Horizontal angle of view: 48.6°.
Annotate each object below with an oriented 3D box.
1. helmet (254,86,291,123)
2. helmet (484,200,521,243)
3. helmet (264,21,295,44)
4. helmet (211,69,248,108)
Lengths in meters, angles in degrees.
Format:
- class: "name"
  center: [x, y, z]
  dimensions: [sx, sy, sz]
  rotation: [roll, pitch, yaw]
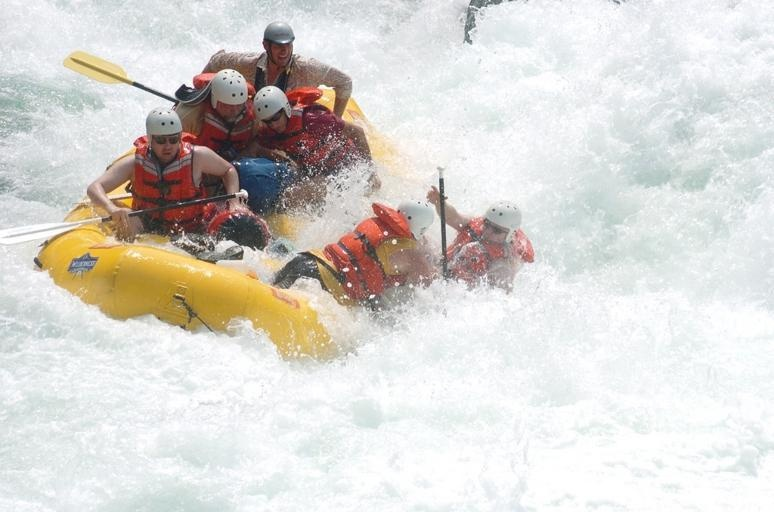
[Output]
- class: "helmet"
  center: [-1.306, -1.759, 10.119]
  dimensions: [0.349, 0.443, 0.348]
  rotation: [-14, 72, 1]
- class: "helmet"
  center: [1.306, -0.406, 9.404]
  dimensions: [0.346, 0.416, 0.324]
  rotation: [-56, 32, -5]
- class: "helmet"
  center: [-1.311, -2.742, 10.471]
  dimensions: [0.284, 0.338, 0.199]
  rotation: [-11, 104, -27]
- class: "helmet"
  center: [-1.805, -1.913, 9.793]
  dimensions: [0.365, 0.336, 0.436]
  rotation: [-2, 40, -19]
